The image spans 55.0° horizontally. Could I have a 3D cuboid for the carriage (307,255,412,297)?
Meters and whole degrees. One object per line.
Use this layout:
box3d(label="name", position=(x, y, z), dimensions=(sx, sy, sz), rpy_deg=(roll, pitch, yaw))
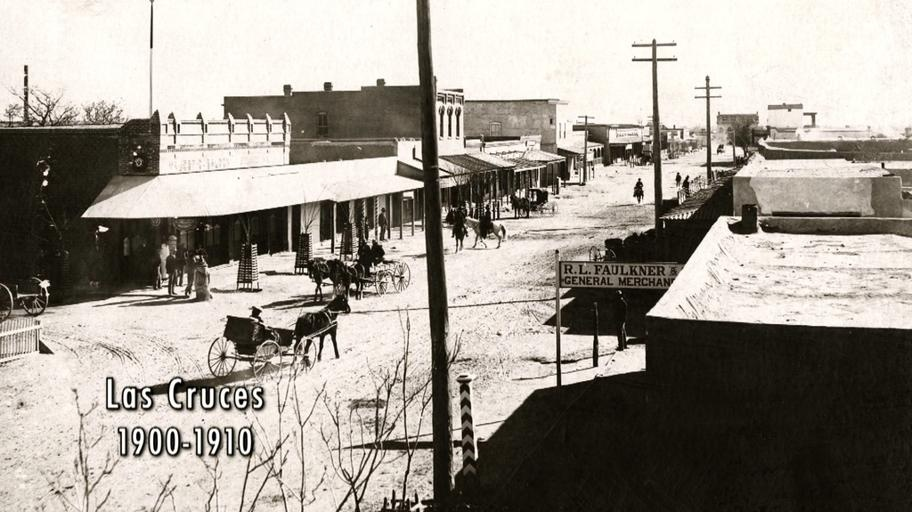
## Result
box3d(label="carriage", position=(-3.955, 0.842, 35.807), dimensions=(4.110, 1.429, 2.178), rpy_deg=(-3, 3, -41))

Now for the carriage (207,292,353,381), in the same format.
box3d(label="carriage", position=(-5.111, 2.449, 27.078), dimensions=(2.033, 2.429, 4.609), rpy_deg=(1, 4, 44))

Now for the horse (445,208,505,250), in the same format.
box3d(label="horse", position=(0.944, -1.517, 49.557), dimensions=(2.109, 2.469, 5.469), rpy_deg=(-1, 2, 21))

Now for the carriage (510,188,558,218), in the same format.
box3d(label="carriage", position=(5.429, -3.993, 64.640), dimensions=(1.989, 1.786, 4.727), rpy_deg=(-1, 0, 22))
